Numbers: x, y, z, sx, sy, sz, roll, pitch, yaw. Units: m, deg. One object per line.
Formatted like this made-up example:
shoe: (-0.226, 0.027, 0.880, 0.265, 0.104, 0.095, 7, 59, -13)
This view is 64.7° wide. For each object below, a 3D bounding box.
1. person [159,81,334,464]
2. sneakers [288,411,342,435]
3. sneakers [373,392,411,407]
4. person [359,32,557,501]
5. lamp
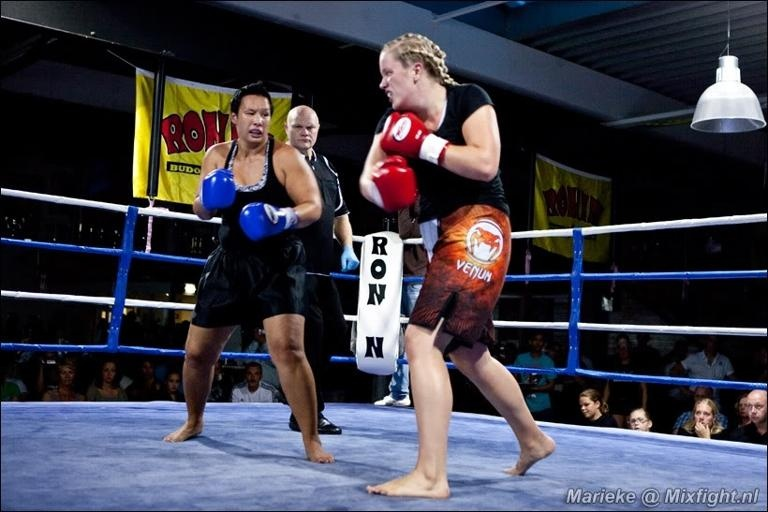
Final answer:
person: (-0.550, 0.037, 2.712, 0.835, 1.616, 0.340, 5, -2, 20)
sneakers: (-0.323, 0.886, 3.278, 0.366, 0.142, 0.122, -4, -9, 27)
sneakers: (0.076, 1.109, 4.706, 0.313, 0.120, 0.104, 4, -12, -1)
person: (0.303, -0.018, 2.322, 0.783, 1.429, 0.460, 6, -2, -11)
lamp: (3.206, -1.563, 5.641, 0.582, 0.640, 0.485, 4, -2, 26)
